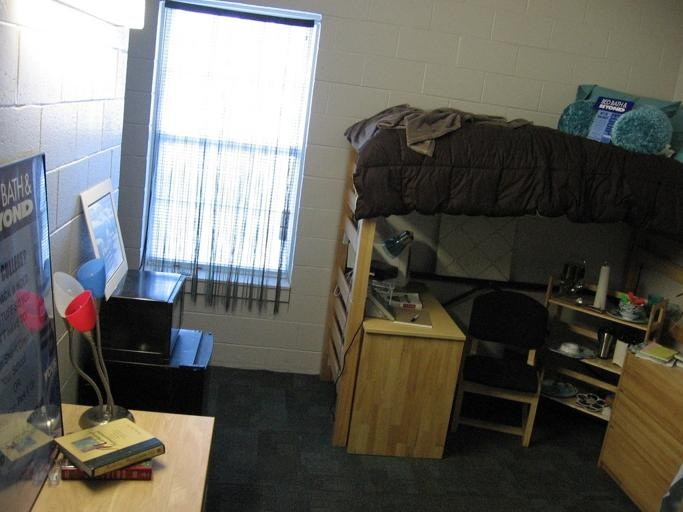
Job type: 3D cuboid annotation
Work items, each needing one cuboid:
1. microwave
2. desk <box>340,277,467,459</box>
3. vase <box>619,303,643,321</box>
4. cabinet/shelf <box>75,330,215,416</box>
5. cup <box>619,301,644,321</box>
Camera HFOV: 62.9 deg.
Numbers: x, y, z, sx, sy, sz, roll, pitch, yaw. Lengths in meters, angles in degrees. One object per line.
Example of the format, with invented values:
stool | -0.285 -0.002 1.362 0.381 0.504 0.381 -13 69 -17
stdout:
microwave | -1.019 0.282 2.887 0.342 0.355 0.531 0 20 -16
desk | 0.389 0.808 3.858 0.668 0.924 1.350 4 11 -6
vase | 1.896 0.371 3.666 0.117 0.086 0.111 5 5 27
cabinet/shelf | -0.956 0.615 2.922 0.451 0.295 0.435 3 5 -9
cup | 1.900 0.369 3.665 0.125 0.087 0.119 2 6 0
